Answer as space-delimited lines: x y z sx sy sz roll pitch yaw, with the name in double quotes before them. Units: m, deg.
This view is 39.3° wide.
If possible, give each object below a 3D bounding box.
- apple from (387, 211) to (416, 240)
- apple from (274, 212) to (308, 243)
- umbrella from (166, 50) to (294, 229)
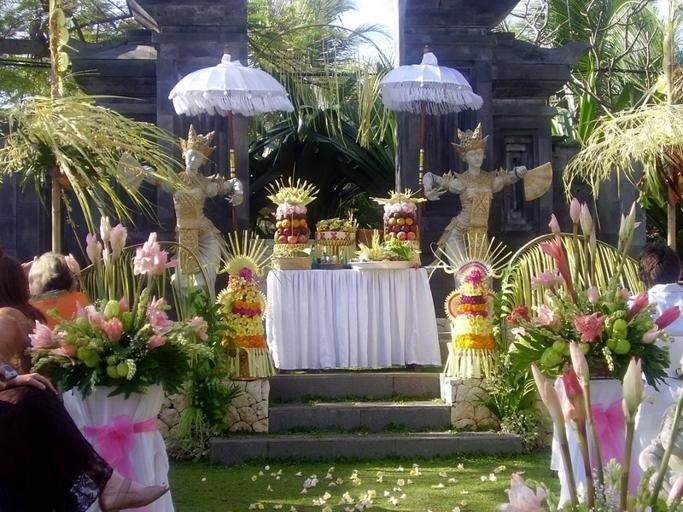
"apple" 0.583 -0.279 9.237 0.310 0.260 0.238 -1 -4 1
"apple" -0.473 -0.241 9.129 0.239 0.293 0.268 -10 -16 33
"umbrella" -0.975 -1.186 9.660 1.050 1.659 1.074 -5 8 -38
